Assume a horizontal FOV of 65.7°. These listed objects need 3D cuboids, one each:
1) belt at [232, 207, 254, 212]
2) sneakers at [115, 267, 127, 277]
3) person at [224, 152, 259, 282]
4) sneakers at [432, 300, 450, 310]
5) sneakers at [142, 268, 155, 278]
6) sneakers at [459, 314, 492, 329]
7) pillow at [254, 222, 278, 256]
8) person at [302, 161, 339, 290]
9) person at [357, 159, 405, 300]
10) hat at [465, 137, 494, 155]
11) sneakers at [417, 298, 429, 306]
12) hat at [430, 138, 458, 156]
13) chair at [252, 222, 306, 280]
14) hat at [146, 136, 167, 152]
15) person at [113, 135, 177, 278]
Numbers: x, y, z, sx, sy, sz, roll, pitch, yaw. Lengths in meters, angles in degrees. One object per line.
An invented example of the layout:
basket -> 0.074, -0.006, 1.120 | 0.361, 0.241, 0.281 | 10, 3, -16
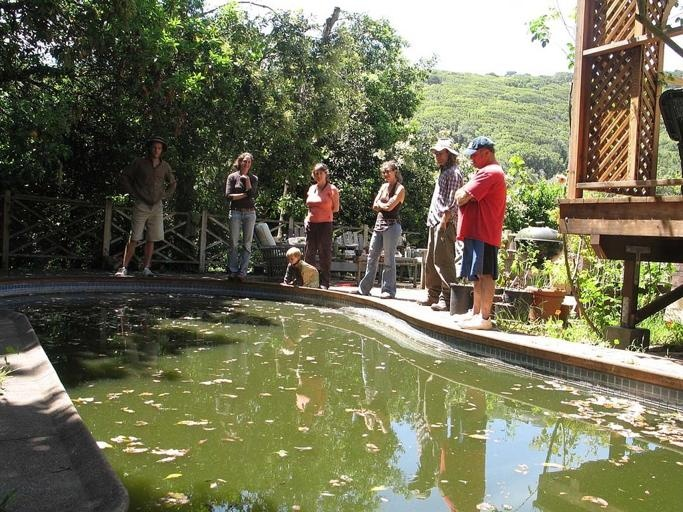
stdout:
belt -> -1.589, -0.748, 8.502 | 0.355, 0.070, 0.095 | 1, 4, -27
sneakers -> -3.505, 0.250, 8.373 | 0.325, 0.160, 0.117 | 2, -1, 29
person -> -1.657, -0.662, 8.681 | 0.468, 2.101, 0.754 | 2, 4, -11
sneakers -> 1.232, 0.611, 6.606 | 0.222, 0.119, 0.093 | 2, -2, 19
sneakers -> -3.152, 0.268, 8.659 | 0.119, 0.152, 0.324 | 3, -4, -33
sneakers -> 1.326, 0.638, 5.228 | 0.237, 0.109, 0.139 | 2, -5, -2
pillow -> -1.338, -0.332, 9.718 | 0.124, 0.539, 0.519 | -18, 32, -28
person -> -0.326, -0.450, 8.112 | 0.469, 1.915, 0.623 | 2, 4, -5
person -> 0.556, -0.374, 7.522 | 0.585, 1.943, 0.833 | 3, 4, 3
hat -> 1.321, -1.075, 5.100 | 0.246, 0.147, 0.176 | 0, 14, 1
sneakers -> 1.081, 0.615, 7.062 | 0.177, 0.136, 0.062 | 4, 2, 32
hat -> 1.251, -1.350, 6.293 | 0.245, 0.141, 0.227 | 14, -10, -34
chair -> -1.236, -0.090, 10.067 | 1.044, 1.139, 0.871 | 0, 0, 16
hat -> -2.876, -1.782, 8.403 | 0.313, 0.134, 0.362 | 12, -14, 3
person -> -3.192, -0.802, 8.727 | 0.839, 2.177, 1.102 | 1, 4, -19
